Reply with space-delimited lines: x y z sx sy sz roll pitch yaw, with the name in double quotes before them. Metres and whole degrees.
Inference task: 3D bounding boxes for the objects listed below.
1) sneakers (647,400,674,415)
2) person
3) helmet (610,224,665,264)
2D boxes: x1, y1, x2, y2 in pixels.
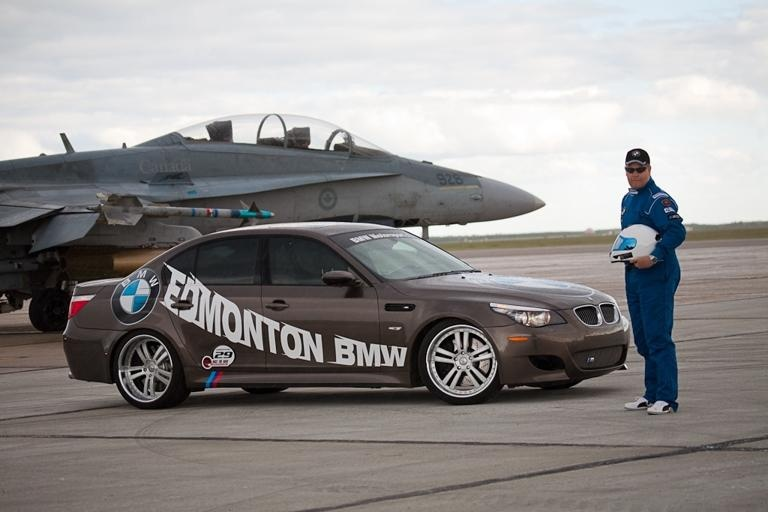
"sneakers" 2.764 1.524 7.098 0.257 0.067 0.132 6 -8 -38
"person" 2.780 0.238 7.321 0.648 2.666 0.883 -3 5 18
"helmet" 2.571 -0.150 7.472 0.614 0.310 0.381 -12 18 -27
